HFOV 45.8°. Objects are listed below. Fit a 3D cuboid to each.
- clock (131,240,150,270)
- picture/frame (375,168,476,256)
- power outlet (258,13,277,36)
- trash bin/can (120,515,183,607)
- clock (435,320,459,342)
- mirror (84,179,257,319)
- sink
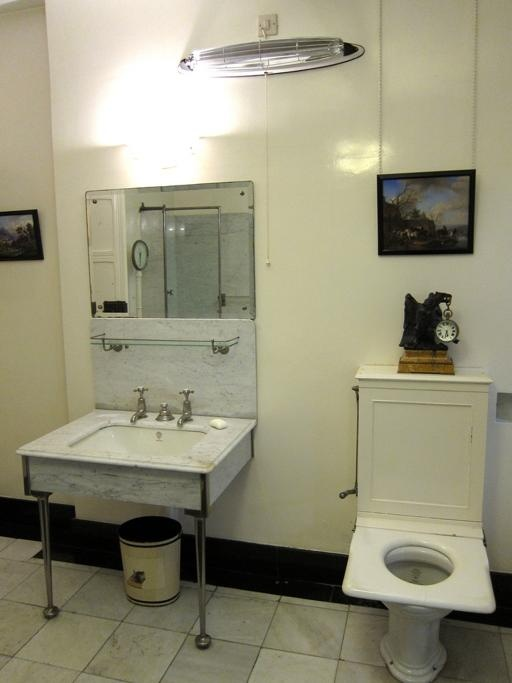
[{"bbox_3d":[-0.497,-0.379,2.597,0.131,0.146,0.020,1,7,29],"label":"clock"},{"bbox_3d":[0.644,-0.487,2.225,0.350,0.283,0.016,1,10,17],"label":"picture/frame"},{"bbox_3d":[0.047,-1.206,2.296,0.094,0.092,0.051,1,10,6],"label":"power outlet"},{"bbox_3d":[-0.373,0.874,2.517,0.315,0.313,0.290,0,13,-2],"label":"trash bin/can"},{"bbox_3d":[0.690,-0.036,2.171,0.074,0.085,0.036,2,11,16],"label":"clock"},{"bbox_3d":[-0.335,-0.405,2.550,0.644,0.446,0.029,1,8,12],"label":"mirror"},{"bbox_3d":[-0.442,0.457,2.353,0.783,0.208,0.541,2,10,18],"label":"sink"}]
